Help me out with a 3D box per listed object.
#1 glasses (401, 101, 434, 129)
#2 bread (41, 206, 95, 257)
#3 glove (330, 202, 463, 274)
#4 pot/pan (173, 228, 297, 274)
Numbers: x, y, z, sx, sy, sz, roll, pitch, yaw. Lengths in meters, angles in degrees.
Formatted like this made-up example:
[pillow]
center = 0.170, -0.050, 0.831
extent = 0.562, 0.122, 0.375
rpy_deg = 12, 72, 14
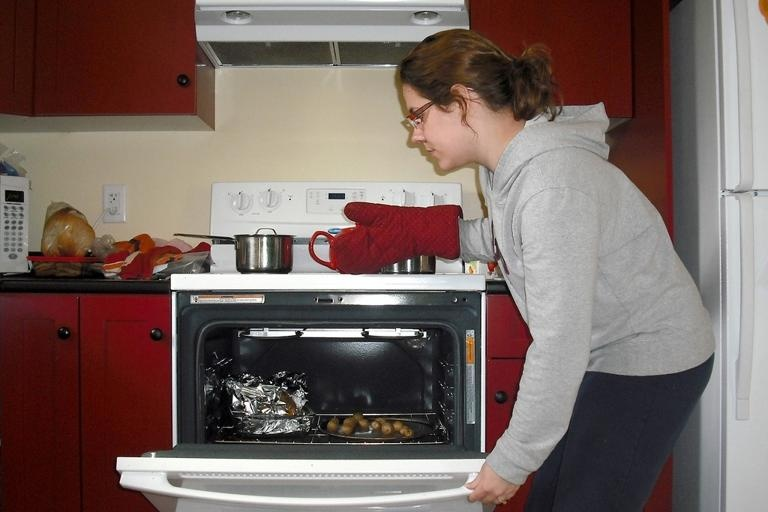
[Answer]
[glasses]
center = 0.102, -0.428, 2.161
extent = 0.067, 0.020, 0.065
rpy_deg = -40, 6, -25
[bread]
center = -1.255, -0.099, 2.851
extent = 0.203, 0.207, 0.061
rpy_deg = -2, 0, 6
[glove]
center = 0.022, -0.061, 2.435
extent = 0.343, 0.257, 0.125
rpy_deg = 1, -26, 4
[pot/pan]
center = -0.512, -0.011, 2.605
extent = 0.312, 0.125, 0.190
rpy_deg = 0, -3, 2
